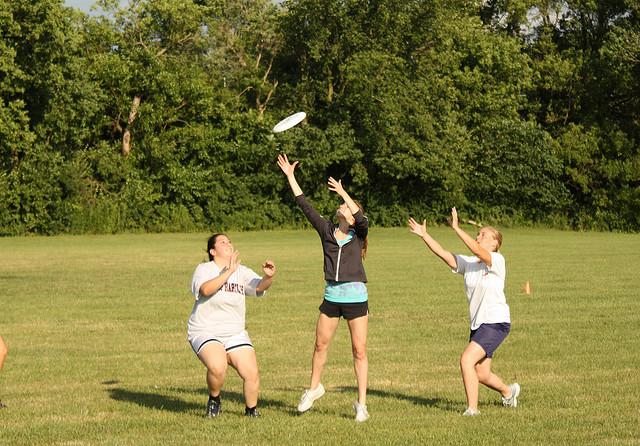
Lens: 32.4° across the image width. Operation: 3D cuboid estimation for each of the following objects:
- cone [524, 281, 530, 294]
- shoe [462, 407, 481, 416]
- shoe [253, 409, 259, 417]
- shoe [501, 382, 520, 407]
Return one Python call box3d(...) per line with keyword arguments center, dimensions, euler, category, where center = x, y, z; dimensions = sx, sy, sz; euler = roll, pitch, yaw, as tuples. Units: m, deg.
box3d(center=(9.453, 2.897, 50.567), dimensions=(0.235, 0.505, 0.998), euler=(-2, 2, 11), category="cone")
box3d(center=(5.686, 7.061, 41.577), dimensions=(0.685, 0.322, 0.241), euler=(2, -5, -16), category="shoe")
box3d(center=(-2.490, 7.090, 41.477), dimensions=(0.182, 0.273, 0.071), euler=(-4, -8, -3), category="shoe")
box3d(center=(7.222, 6.511, 41.902), dimensions=(0.510, 1.178, 0.367), euler=(12, -12, -40), category="shoe")
